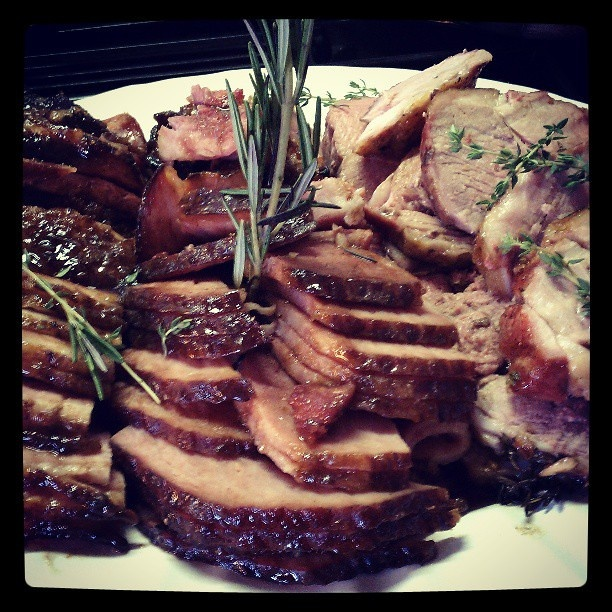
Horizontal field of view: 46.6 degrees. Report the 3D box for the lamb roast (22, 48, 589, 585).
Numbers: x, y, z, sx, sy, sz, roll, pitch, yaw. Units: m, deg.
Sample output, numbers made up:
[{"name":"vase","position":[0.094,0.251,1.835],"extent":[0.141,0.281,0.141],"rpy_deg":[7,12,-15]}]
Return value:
[{"name":"lamb roast","position":[0.007,0.035,1.396],"extent":[1.076,1.041,0.428],"rpy_deg":[-1,9,-15]}]
